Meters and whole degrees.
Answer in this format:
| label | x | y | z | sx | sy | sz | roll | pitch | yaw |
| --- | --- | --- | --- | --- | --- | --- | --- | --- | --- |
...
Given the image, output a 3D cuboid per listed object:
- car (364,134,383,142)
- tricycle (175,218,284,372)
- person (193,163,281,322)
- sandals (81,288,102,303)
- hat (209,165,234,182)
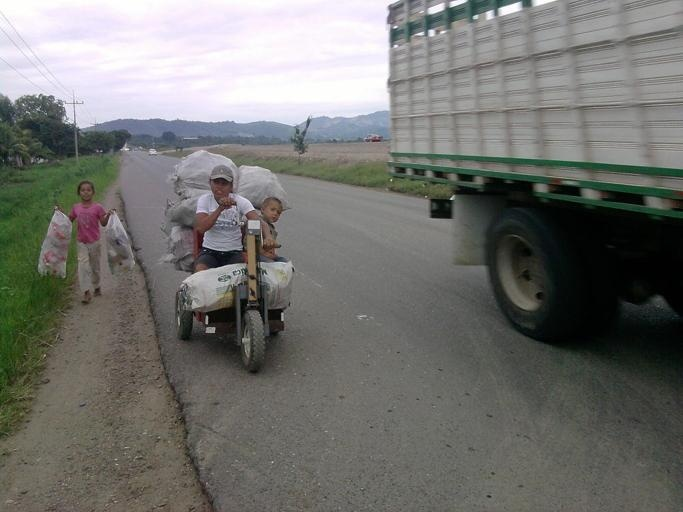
| label | x | y | z | sx | sy | sz | roll | pitch | yaw |
| --- | --- | --- | --- | --- | --- | --- | --- | --- | --- |
| car | 5.247 | -19.977 | 81.731 | 2.124 | 1.227 | 6.187 | -3 | 14 | -3 |
| tricycle | -1.349 | 0.431 | 5.624 | 0.884 | 1.092 | 1.696 | 1 | 0 | -24 |
| person | -1.340 | -0.440 | 5.638 | 0.919 | 1.523 | 1.206 | -5 | 11 | -24 |
| sandals | -3.787 | 0.582 | 7.523 | 0.127 | 0.202 | 0.437 | 2 | -12 | -21 |
| hat | -1.313 | -0.929 | 5.436 | 0.233 | 0.198 | 0.166 | -7 | 15 | -19 |
